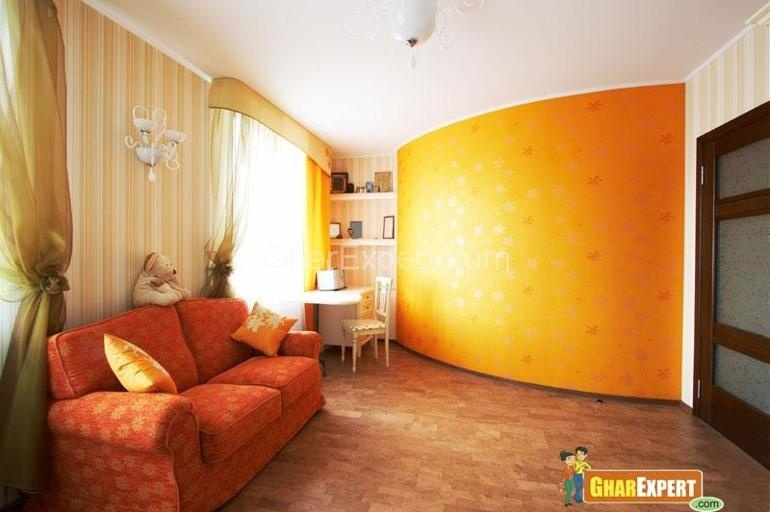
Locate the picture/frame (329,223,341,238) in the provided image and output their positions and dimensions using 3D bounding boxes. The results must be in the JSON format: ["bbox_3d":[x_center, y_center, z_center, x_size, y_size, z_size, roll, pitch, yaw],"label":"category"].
[{"bbox_3d":[-0.746,-0.369,7.339,0.183,0.193,0.183,0,3,-10],"label":"picture/frame"}]

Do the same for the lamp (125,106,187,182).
[{"bbox_3d":[-2.069,-1.031,4.670,0.270,0.682,0.576,3,4,37],"label":"lamp"}]

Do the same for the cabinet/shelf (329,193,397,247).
[{"bbox_3d":[-0.333,-0.523,7.306,1.040,0.790,0.209,1,3,14],"label":"cabinet/shelf"}]

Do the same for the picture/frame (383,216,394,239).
[{"bbox_3d":[0.058,-0.417,7.225,0.198,0.334,0.122,1,3,16],"label":"picture/frame"}]

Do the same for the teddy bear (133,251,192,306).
[{"bbox_3d":[-2.104,0.240,4.738,0.450,0.592,0.450,-5,-12,2],"label":"teddy bear"}]

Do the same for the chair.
[{"bbox_3d":[-0.246,0.802,6.504,0.637,1.066,1.289,1,3,-1],"label":"chair"}]
